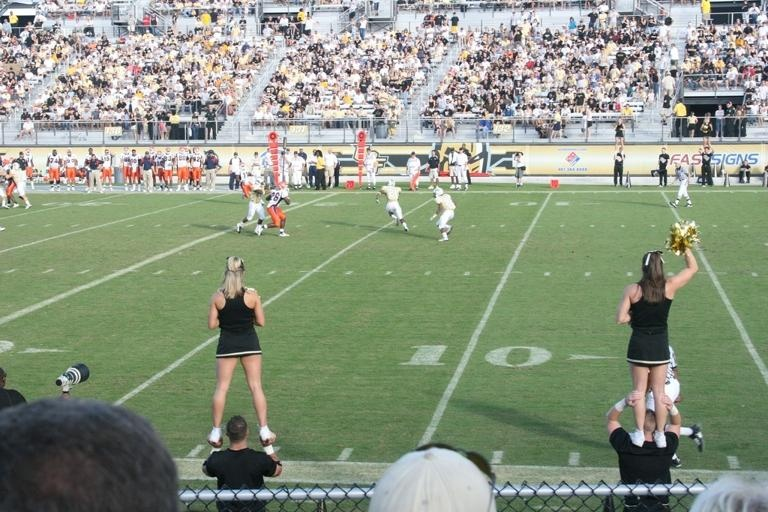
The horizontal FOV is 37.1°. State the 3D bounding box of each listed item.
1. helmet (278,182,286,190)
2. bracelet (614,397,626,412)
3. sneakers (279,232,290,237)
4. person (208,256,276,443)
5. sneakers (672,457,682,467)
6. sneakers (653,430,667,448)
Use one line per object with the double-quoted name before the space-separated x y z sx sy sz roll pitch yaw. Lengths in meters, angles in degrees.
"helmet" -3.015 -2.070 33.909 0.350 0.153 0.442 1 1 2
"bracelet" 3.761 2.371 18.367 0.142 0.182 0.340 3 0 5
"sneakers" -2.969 -0.681 34.108 0.315 0.151 0.489 -3 8 -6
"person" -2.454 1.632 19.207 1.074 3.234 1.299 -4 8 -6
"sneakers" 4.769 3.366 18.776 0.133 0.152 0.383 3 10 20
"sneakers" 4.188 2.786 17.455 0.202 0.208 0.555 -4 -2 9
